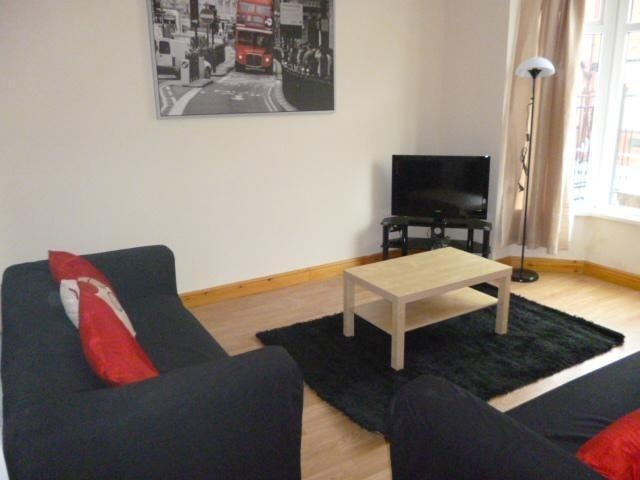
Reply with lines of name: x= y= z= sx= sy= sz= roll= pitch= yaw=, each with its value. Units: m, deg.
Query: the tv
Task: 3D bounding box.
tv: x=1.147 y=-0.491 z=4.845 sx=0.649 sy=0.475 sz=0.050 roll=4 pitch=13 yaw=14

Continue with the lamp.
lamp: x=1.795 y=-0.838 z=4.414 sx=0.246 sy=1.409 sz=0.261 roll=4 pitch=-2 yaw=-6

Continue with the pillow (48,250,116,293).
pillow: x=-1.403 y=0.149 z=2.941 sx=0.446 sy=0.174 sz=0.167 roll=0 pitch=27 yaw=36

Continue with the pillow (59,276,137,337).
pillow: x=-1.145 y=0.300 z=2.578 sx=0.331 sy=0.129 sz=0.516 roll=5 pitch=12 yaw=-43
